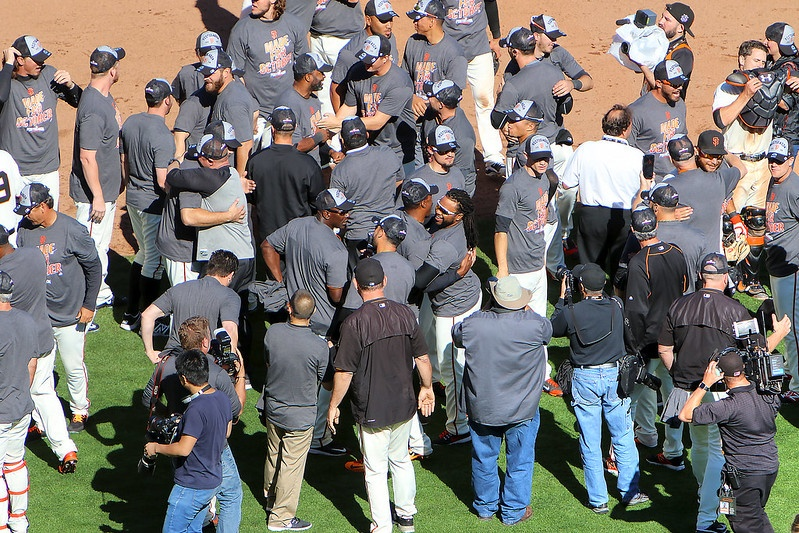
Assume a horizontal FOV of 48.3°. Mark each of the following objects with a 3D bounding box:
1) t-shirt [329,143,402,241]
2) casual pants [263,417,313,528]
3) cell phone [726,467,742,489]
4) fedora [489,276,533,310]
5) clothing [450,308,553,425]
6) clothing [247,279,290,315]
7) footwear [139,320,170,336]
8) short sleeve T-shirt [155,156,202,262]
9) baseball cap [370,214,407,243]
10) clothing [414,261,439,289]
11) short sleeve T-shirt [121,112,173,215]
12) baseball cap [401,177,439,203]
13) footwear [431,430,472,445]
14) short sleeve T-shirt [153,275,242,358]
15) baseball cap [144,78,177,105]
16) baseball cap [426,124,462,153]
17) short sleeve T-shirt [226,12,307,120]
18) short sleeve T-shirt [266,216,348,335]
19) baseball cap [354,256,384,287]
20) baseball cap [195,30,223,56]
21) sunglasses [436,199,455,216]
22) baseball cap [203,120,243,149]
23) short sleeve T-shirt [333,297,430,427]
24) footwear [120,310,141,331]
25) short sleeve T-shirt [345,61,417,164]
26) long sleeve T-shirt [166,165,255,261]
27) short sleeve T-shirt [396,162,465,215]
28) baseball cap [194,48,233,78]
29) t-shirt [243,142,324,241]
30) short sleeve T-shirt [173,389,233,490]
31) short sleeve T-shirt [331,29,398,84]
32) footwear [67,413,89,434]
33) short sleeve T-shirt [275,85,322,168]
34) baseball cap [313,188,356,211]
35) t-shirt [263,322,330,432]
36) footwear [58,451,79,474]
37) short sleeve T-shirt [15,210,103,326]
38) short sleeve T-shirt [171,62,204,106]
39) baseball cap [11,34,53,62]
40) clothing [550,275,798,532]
[{"bbox_3d":[-0.416,-0.859,10.724,0.909,1.052,0.545,-16,39,-20],"label":"t-shirt"},{"bbox_3d":[-1.237,2.304,9.654,0.603,1.189,0.348,-1,-2,10],"label":"casual pants"},{"bbox_3d":[3.391,2.163,9.064,0.131,0.225,0.079,-15,3,40],"label":"cell phone"},{"bbox_3d":[1.171,0.297,9.516,0.425,0.353,0.215,0,-2,7],"label":"fedora"},{"bbox_3d":[1.133,1.077,9.794,1.102,1.324,0.720,0,13,-3],"label":"clothing"},{"bbox_3d":[-1.513,0.332,10.179,0.546,0.461,0.204,3,20,-2],"label":"clothing"},{"bbox_3d":[-3.025,0.777,10.962,0.442,0.156,0.285,-10,-8,-21],"label":"footwear"},{"bbox_3d":[-2.706,-0.710,10.913,0.590,1.079,1.096,5,14,-19],"label":"short sleeve T-shirt"},{"bbox_3d":[-0.117,-0.435,9.828,0.241,0.218,0.371,-7,46,-40],"label":"baseball cap"},{"bbox_3d":[0.281,0.092,9.972,0.139,0.272,0.199,36,1,27],"label":"clothing"},{"bbox_3d":[-3.331,-1.347,11.716,0.931,1.250,0.475,27,38,27],"label":"short sleeve T-shirt"},{"bbox_3d":[0.243,-0.849,10.153,0.398,0.221,0.254,-30,41,-25],"label":"baseball cap"},{"bbox_3d":[0.624,2.099,10.908,0.472,0.221,0.164,2,18,-7],"label":"footwear"},{"bbox_3d":[-2.285,0.519,10.051,0.948,1.032,0.509,14,28,3],"label":"short sleeve T-shirt"},{"bbox_3d":[-3.133,-2.305,11.618,0.251,0.232,0.426,10,40,18],"label":"baseball cap"},{"bbox_3d":[0.500,-1.507,10.482,0.241,0.201,0.343,-10,26,-18],"label":"baseball cap"},{"bbox_3d":[-1.962,-3.035,13.356,1.294,1.559,0.578,-15,42,-22],"label":"short sleeve T-shirt"},{"bbox_3d":[-1.029,0.128,9.993,0.461,1.076,0.836,-32,56,-30],"label":"short sleeve T-shirt"},{"bbox_3d":[-0.327,0.086,9.394,0.229,0.183,0.314,-4,40,-1],"label":"baseball cap"},{"bbox_3d":[-2.529,-2.929,11.720,0.358,0.262,0.469,-9,17,-20],"label":"baseball cap"},{"bbox_3d":[0.513,-0.652,10.035,0.157,0.047,0.155,20,11,-33],"label":"sunglasses"},{"bbox_3d":[-2.110,-1.557,10.747,0.453,0.261,0.287,28,16,-21],"label":"baseball cap"},{"bbox_3d":[-0.222,1.019,9.494,1.286,1.496,0.574,-5,25,-11],"label":"short sleeve T-shirt"},{"bbox_3d":[-3.719,0.761,12.309,0.151,0.161,0.347,6,15,-2],"label":"footwear"},{"bbox_3d":[-0.313,-2.076,12.498,0.961,1.483,1.028,14,40,21],"label":"short sleeve T-shirt"},{"bbox_3d":[-2.233,-0.626,10.724,0.915,1.134,0.572,0,-2,-12],"label":"long sleeve T-shirt"},{"bbox_3d":[0.411,-0.952,10.797,0.773,0.431,0.448,-26,35,-21],"label":"short sleeve T-shirt"},{"bbox_3d":[-2.419,-2.650,11.491,0.414,0.247,0.295,2,26,9],"label":"baseball cap"},{"bbox_3d":[-1.417,-0.908,10.872,0.847,1.013,0.672,18,47,9],"label":"t-shirt"},{"bbox_3d":[-1.949,1.752,8.795,0.451,0.860,0.852,10,16,19],"label":"short sleeve T-shirt"},{"bbox_3d":[-0.680,-2.933,12.633,0.868,0.471,0.511,-14,53,-21],"label":"short sleeve T-shirt"},{"bbox_3d":[-3.918,1.925,10.776,0.112,0.124,0.311,10,11,-5],"label":"footwear"},{"bbox_3d":[-1.306,-1.792,11.386,0.321,0.803,0.919,16,-25,13],"label":"short sleeve T-shirt"},{"bbox_3d":[-0.735,-0.742,9.897,0.332,0.189,0.242,2,25,-6],"label":"baseball cap"},{"bbox_3d":[-1.103,1.193,9.476,0.694,1.165,0.355,0,-2,-7],"label":"t-shirt"},{"bbox_3d":[-3.791,2.276,10.170,0.155,0.337,0.151,10,26,-23],"label":"footwear"},{"bbox_3d":[-4.080,0.025,10.534,1.062,1.309,0.629,3,17,9],"label":"short sleeve T-shirt"},{"bbox_3d":[-2.967,-2.529,12.415,0.202,0.570,0.592,1,27,17],"label":"short sleeve T-shirt"},{"bbox_3d":[-4.977,-2.894,11.922,0.545,0.304,0.377,6,35,-12],"label":"baseball cap"},{"bbox_3d":[2.645,1.446,10.127,1.750,2.907,1.254,-1,-2,10],"label":"clothing"}]
